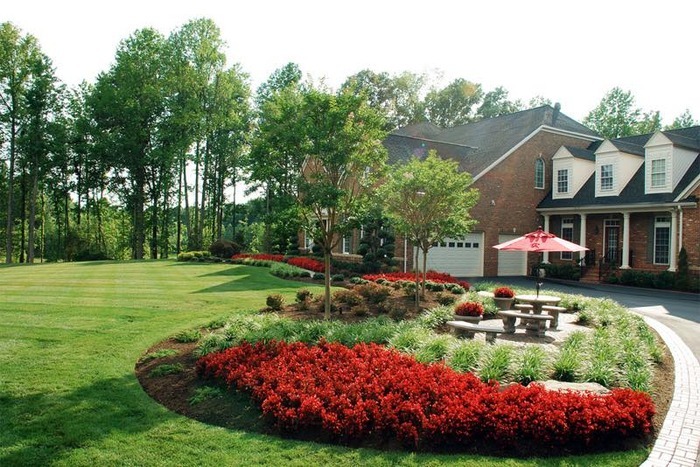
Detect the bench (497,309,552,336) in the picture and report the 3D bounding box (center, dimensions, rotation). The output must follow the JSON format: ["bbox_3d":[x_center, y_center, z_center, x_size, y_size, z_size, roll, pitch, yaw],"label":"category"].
[{"bbox_3d":[5.410,2.807,16.595,1.434,0.693,1.495,2,-3,8],"label":"bench"}]

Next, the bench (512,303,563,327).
[{"bbox_3d":[6.588,2.642,17.656,0.865,0.590,1.250,2,-4,-28],"label":"bench"}]
